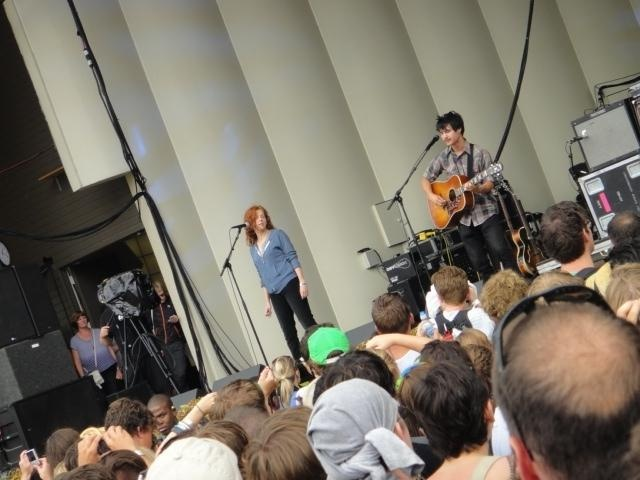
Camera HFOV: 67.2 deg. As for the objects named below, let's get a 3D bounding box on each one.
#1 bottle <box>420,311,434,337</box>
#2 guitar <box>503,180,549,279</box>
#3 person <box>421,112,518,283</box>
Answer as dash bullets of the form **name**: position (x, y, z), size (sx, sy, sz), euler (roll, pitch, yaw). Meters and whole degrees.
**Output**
- **bottle**: position (0.663, 0.521, 2.999), size (0.086, 0.129, 0.119), euler (3, 7, 20)
- **guitar**: position (2.013, -0.117, 4.756), size (0.116, 0.449, 1.052), euler (-13, -43, 17)
- **person**: position (1.468, -0.262, 4.722), size (0.498, 1.973, 0.574), euler (-21, 11, -28)
